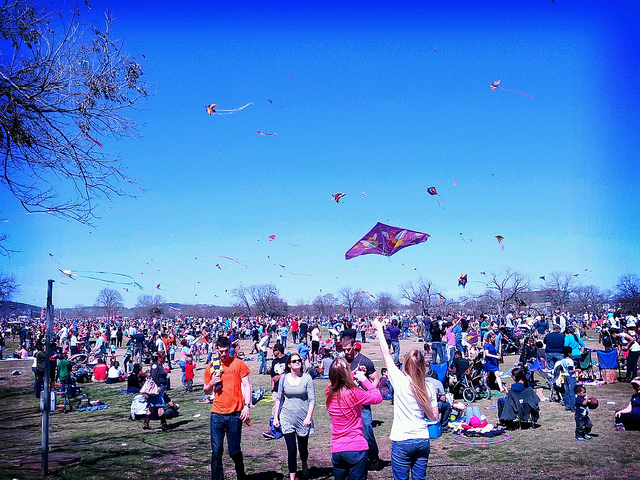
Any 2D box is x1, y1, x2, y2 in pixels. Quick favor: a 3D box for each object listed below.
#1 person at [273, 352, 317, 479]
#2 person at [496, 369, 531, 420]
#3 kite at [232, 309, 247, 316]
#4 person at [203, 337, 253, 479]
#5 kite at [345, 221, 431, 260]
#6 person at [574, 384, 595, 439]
[{"bbox_3d":[-0.469,3.266,9.695,0.674,2.263,1.566,-1,-11,-5],"label":"person"},{"bbox_3d":[4.664,3.705,12.529,0.749,1.157,0.594,-7,-12,23],"label":"person"},{"bbox_3d":[-19.517,16.938,122.918,2.176,1.453,7.896,-2,-12,-3],"label":"kite"},{"bbox_3d":[-1.592,2.912,8.957,0.776,2.423,0.492,1,-11,-15],"label":"person"},{"bbox_3d":[2.170,0.022,17.321,2.404,0.761,1.323,-13,-16,41],"label":"kite"},{"bbox_3d":[5.993,3.880,11.878,0.431,1.121,1.272,-7,-12,25],"label":"person"}]
